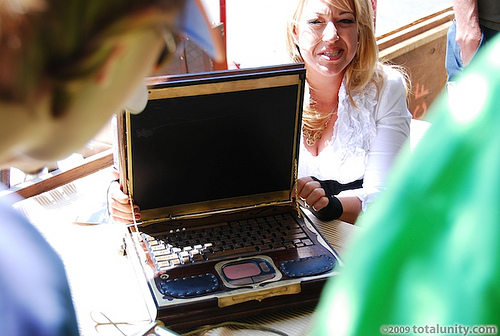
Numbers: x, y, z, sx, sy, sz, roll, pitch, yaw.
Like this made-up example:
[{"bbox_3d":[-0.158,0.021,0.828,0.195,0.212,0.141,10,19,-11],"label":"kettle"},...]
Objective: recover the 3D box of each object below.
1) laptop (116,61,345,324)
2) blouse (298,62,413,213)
[{"bbox_3d":[-0.032,0.051,0.878,0.508,0.444,0.379,-5,27,-16],"label":"laptop"},{"bbox_3d":[0.436,-0.117,1.514,0.465,0.582,0.232,-1,-15,27],"label":"blouse"}]
